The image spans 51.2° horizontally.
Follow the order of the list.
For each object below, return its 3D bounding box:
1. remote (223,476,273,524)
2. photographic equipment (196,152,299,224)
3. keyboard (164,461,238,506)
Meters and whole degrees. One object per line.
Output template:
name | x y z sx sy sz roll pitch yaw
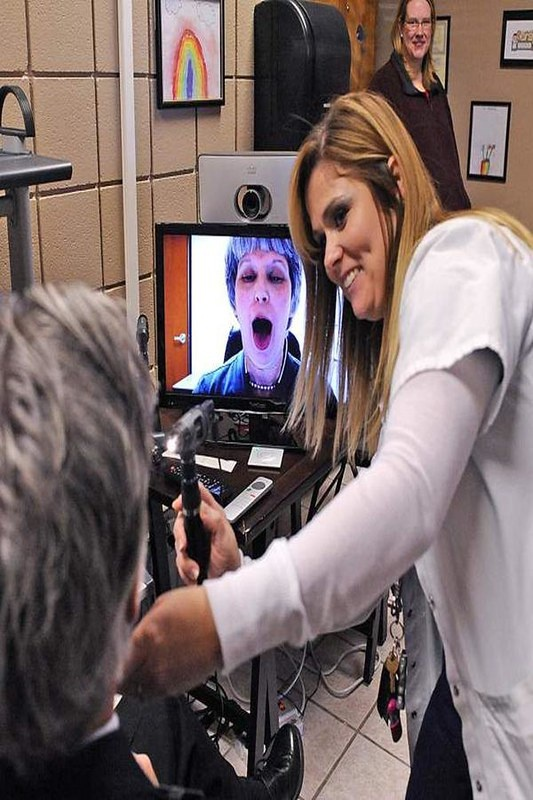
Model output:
remote | -0.044 0.252 1.417 0.048 0.029 0.200 15 37 20
photographic equipment | -0.060 -0.643 1.948 0.339 0.293 0.225 -1 -25 -8
keyboard | -0.178 0.209 1.484 0.201 0.059 0.112 26 29 19
